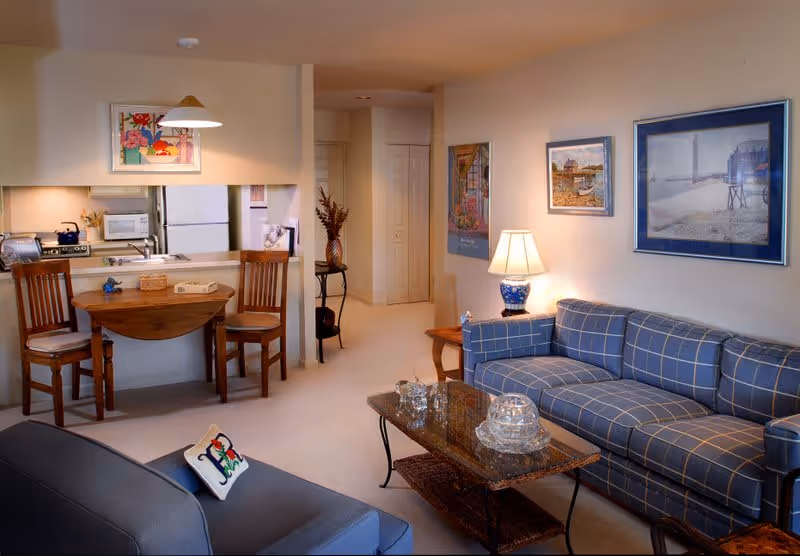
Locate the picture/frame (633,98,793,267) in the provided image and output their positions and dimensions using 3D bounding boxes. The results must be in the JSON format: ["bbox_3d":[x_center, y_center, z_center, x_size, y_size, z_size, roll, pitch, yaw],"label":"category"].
[{"bbox_3d":[2.184,-0.664,3.822,0.083,1.241,1.235,-3,5,-42],"label":"picture/frame"}]

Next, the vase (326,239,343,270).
[{"bbox_3d":[-0.720,-0.272,6.065,0.169,0.318,0.248,-1,12,-9],"label":"vase"}]

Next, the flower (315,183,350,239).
[{"bbox_3d":[-0.759,-0.678,6.224,0.392,0.611,0.359,-6,8,6],"label":"flower"}]

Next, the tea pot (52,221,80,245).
[{"bbox_3d":[-3.871,-0.519,6.377,0.353,0.326,0.261,2,1,-26],"label":"tea pot"}]

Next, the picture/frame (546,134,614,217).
[{"bbox_3d":[1.545,-0.875,4.720,0.058,0.698,0.726,-5,8,-34],"label":"picture/frame"}]

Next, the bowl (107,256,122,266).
[{"bbox_3d":[-2.734,-0.160,5.318,0.093,0.160,0.168,-1,5,-23],"label":"bowl"}]

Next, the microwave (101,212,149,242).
[{"bbox_3d":[-3.368,-0.622,6.796,0.498,0.347,0.334,-2,4,-26],"label":"microwave"}]

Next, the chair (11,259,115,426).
[{"bbox_3d":[-2.839,0.503,4.645,0.643,1.256,0.848,-10,16,-41],"label":"chair"}]

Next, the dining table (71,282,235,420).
[{"bbox_3d":[-2.143,0.638,4.953,1.289,0.975,0.726,-4,7,-27],"label":"dining table"}]

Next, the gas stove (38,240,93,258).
[{"bbox_3d":[-3.738,-0.297,6.215,0.446,0.146,0.285,-7,14,-33],"label":"gas stove"}]

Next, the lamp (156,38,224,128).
[{"bbox_3d":[-1.747,-1.638,4.617,0.577,0.616,0.574,8,20,13],"label":"lamp"}]

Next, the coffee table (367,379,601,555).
[{"bbox_3d":[0.535,1.093,3.253,0.831,0.625,1.349,-6,14,-28],"label":"coffee table"}]
